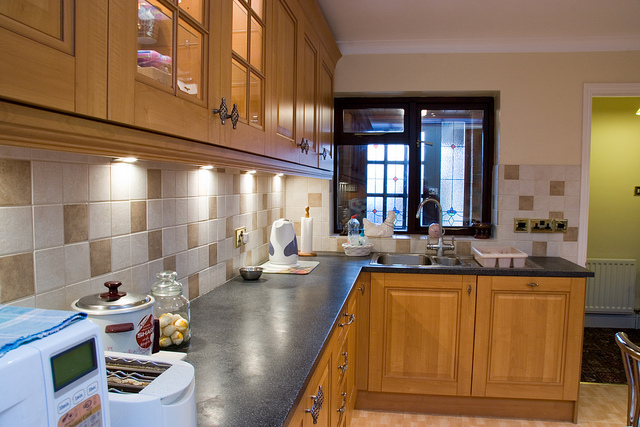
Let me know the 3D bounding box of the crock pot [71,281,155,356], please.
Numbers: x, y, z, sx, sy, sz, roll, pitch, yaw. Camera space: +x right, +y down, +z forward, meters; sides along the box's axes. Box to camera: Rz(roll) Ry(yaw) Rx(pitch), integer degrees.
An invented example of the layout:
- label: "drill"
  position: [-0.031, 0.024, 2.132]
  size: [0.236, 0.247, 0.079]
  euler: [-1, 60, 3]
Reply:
- label: "crock pot"
  position: [-0.671, 0.369, 1.534]
  size: [0.244, 0.282, 0.284]
  euler: [-4, 8, -22]

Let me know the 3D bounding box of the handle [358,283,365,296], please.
- label: "handle"
  position: [0.293, 0.531, 3.212]
  size: [0.012, 0.082, 0.079]
  euler: [9, 10, 23]

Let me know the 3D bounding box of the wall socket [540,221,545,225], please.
- label: "wall socket"
  position: [1.729, 0.074, 3.606]
  size: [0.036, 0.034, 0.004]
  euler: [-1, -7, 14]

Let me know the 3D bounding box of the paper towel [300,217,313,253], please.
- label: "paper towel"
  position: [-0.093, 0.168, 3.575]
  size: [0.124, 0.278, 0.084]
  euler: [1, 10, -25]

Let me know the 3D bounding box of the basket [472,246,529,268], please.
- label: "basket"
  position: [1.294, 0.302, 3.397]
  size: [0.339, 0.127, 0.527]
  euler: [8, 9, 17]

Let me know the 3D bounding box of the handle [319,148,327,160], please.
- label: "handle"
  position: [0.029, -0.409, 3.161]
  size: [0.049, 0.048, 0.049]
  euler: [-5, -15, 22]

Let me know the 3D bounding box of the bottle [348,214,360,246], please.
- label: "bottle"
  position: [0.272, 0.148, 3.678]
  size: [0.093, 0.180, 0.261]
  euler: [6, 9, 4]

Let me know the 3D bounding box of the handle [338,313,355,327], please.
- label: "handle"
  position: [0.157, 0.590, 2.573]
  size: [0.091, 0.087, 0.028]
  euler: [8, -32, -19]

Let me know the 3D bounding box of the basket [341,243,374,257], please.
- label: "basket"
  position: [0.295, 0.283, 3.616]
  size: [0.228, 0.106, 0.114]
  euler: [4, 9, -11]

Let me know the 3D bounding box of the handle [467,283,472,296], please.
- label: "handle"
  position: [1.019, 0.520, 3.158]
  size: [0.032, 0.079, 0.015]
  euler: [1, 10, -27]

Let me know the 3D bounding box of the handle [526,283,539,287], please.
- label: "handle"
  position: [1.436, 0.484, 3.126]
  size: [0.064, 0.029, 0.008]
  euler: [5, 9, -1]

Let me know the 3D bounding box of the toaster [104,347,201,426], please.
- label: "toaster"
  position: [-0.451, 0.435, 1.191]
  size: [0.235, 0.139, 0.165]
  euler: [4, 4, 24]
